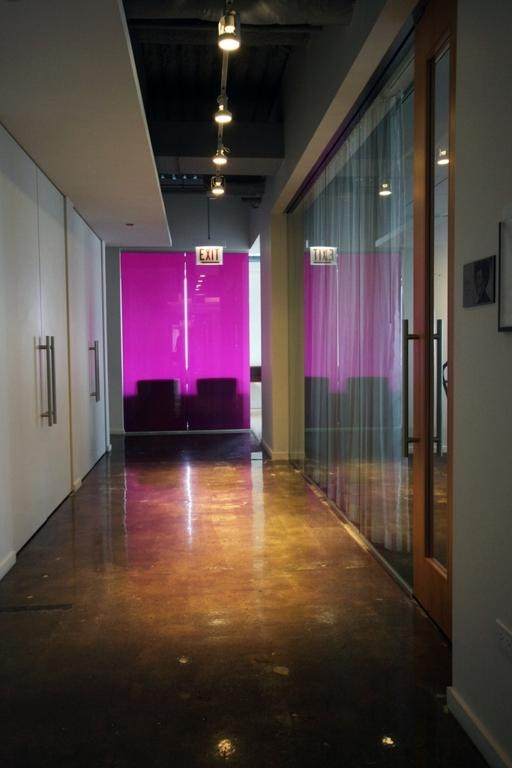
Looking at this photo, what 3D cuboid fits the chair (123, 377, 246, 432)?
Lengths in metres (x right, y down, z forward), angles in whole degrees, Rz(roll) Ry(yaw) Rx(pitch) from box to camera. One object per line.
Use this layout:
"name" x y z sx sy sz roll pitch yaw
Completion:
"chair" -1.132 0.347 9.354 1.983 0.822 0.304 -1 1 0
